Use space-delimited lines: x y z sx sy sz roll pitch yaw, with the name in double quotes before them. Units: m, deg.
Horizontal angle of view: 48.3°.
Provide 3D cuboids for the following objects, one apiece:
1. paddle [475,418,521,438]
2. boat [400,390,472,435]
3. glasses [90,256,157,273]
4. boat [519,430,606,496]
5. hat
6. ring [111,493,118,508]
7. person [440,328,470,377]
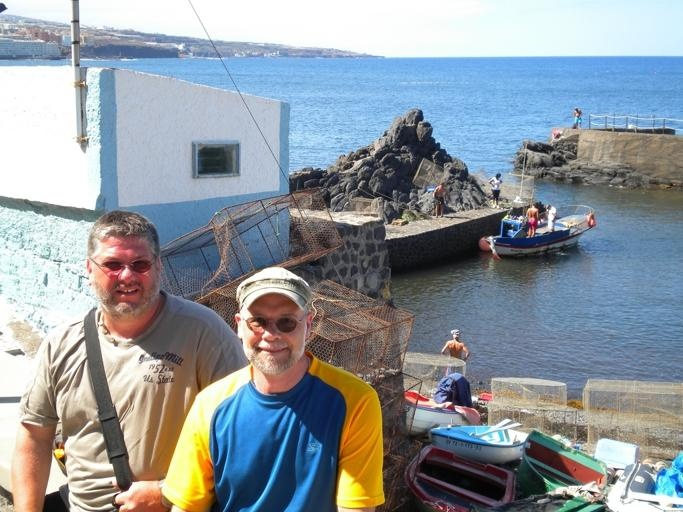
"paddle" 2.513 2.776 12.135 0.905 0.138 0.292 -11 23 -35
"boat" 1.519 2.605 12.476 0.633 0.514 1.402 -1 -3 44
"glasses" -1.578 0.075 5.421 0.437 0.103 0.095 0 13 -1
"boat" 3.192 3.022 11.089 0.935 0.231 0.587 22 57 32
"hat" -0.492 0.206 5.131 0.418 0.256 0.528 1 -4 0
"ring" -1.597 1.731 5.365 0.030 0.089 0.064 5 3 10
"person" 2.625 2.356 17.567 0.581 1.332 0.431 3 23 8
